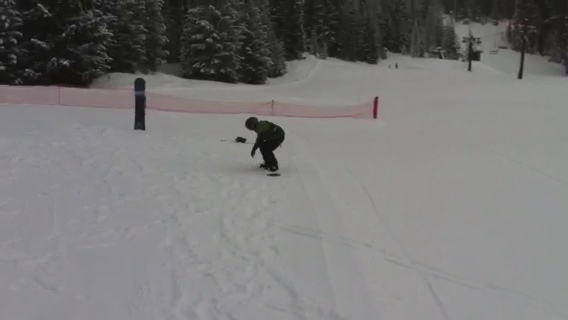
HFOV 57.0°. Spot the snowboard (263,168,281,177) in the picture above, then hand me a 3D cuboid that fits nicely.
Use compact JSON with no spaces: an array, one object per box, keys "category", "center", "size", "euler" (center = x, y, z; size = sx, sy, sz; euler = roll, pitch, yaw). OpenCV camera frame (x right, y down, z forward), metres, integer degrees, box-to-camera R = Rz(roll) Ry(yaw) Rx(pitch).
[{"category":"snowboard","center":[-0.396,0.461,19.512],"size":[0.589,0.085,0.803],"euler":[-2,18,-11]}]
